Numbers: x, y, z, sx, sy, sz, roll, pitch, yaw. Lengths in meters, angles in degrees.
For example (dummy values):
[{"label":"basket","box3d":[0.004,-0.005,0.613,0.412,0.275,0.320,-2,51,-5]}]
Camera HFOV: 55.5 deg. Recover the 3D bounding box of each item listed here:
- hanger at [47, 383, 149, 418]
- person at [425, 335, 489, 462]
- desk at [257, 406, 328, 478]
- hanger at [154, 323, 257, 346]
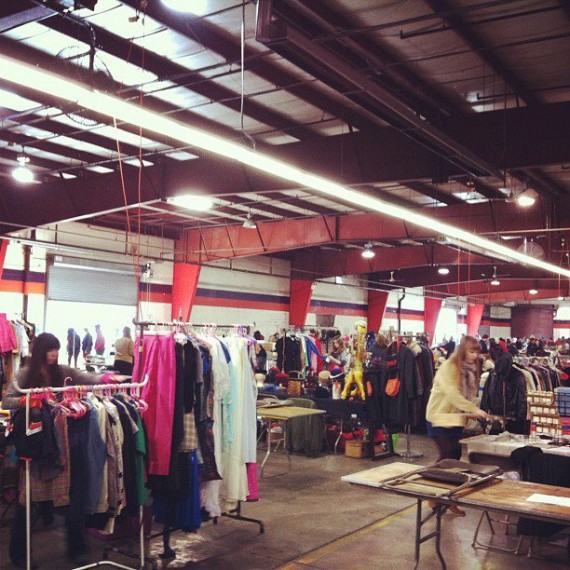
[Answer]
[{"label":"hanger","box3d":[-1.223,0.747,3.611,0.447,0.194,0.857,0,-6,15]},{"label":"person","box3d":[1.408,0.945,4.464,0.503,1.082,0.845,-1,-6,20]},{"label":"desk","box3d":[-0.078,2.104,7.494,0.777,0.694,0.767,7,-11,3]},{"label":"hanger","box3d":[-0.650,0.414,4.825,0.773,0.200,1.890,2,-6,-4]}]
